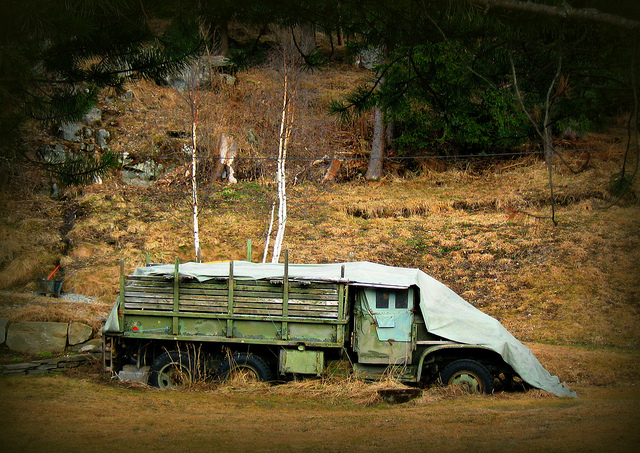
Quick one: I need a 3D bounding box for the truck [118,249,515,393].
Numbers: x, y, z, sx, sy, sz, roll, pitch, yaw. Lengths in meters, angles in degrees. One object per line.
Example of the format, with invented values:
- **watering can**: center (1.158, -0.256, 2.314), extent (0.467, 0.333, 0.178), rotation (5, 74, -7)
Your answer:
- **truck**: center (-0.143, 2.659, 24.300), extent (11.582, 3.652, 5.950), rotation (0, 0, -3)
